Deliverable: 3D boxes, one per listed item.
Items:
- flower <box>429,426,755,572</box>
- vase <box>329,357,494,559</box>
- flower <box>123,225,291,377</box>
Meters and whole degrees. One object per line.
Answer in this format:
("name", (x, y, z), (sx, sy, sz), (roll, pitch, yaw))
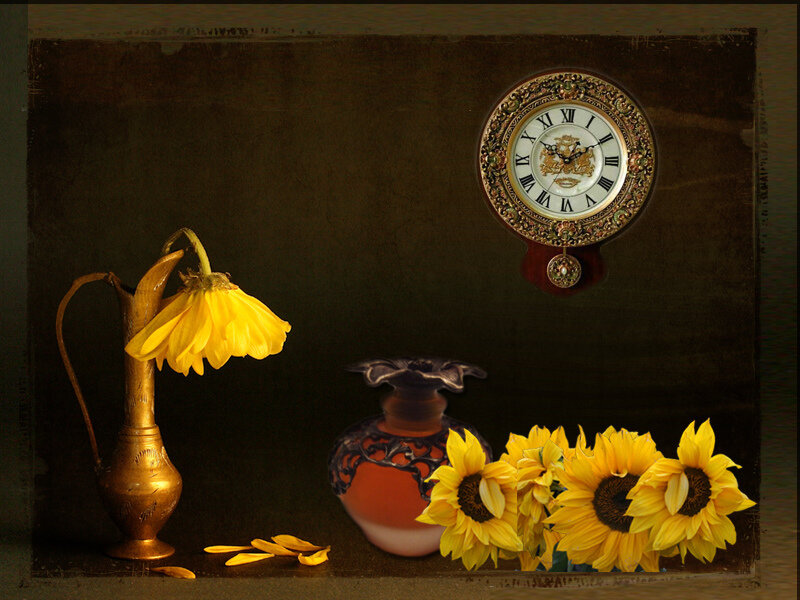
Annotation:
("flower", (0.312, 0.353, 1.787), (0.420, 0.184, 0.153), (-2, 0, 1))
("vase", (0.020, 0.316, 2.140), (0.340, 0.345, 0.324), (5, 5, 31))
("flower", (-0.377, -0.003, 2.048), (0.292, 0.212, 0.291), (6, 7, 38))
